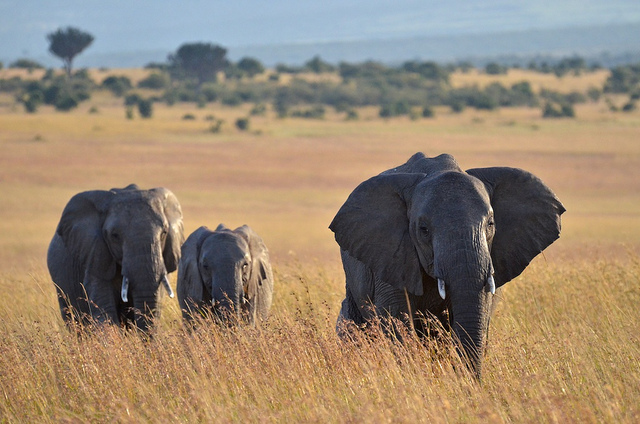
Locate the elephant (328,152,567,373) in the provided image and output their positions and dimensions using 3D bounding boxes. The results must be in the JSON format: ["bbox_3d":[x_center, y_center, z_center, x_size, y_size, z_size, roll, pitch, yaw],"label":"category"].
[{"bbox_3d":[2.321,0.909,19.474,4.015,3.923,1.805,1,10,18],"label":"elephant"}]
